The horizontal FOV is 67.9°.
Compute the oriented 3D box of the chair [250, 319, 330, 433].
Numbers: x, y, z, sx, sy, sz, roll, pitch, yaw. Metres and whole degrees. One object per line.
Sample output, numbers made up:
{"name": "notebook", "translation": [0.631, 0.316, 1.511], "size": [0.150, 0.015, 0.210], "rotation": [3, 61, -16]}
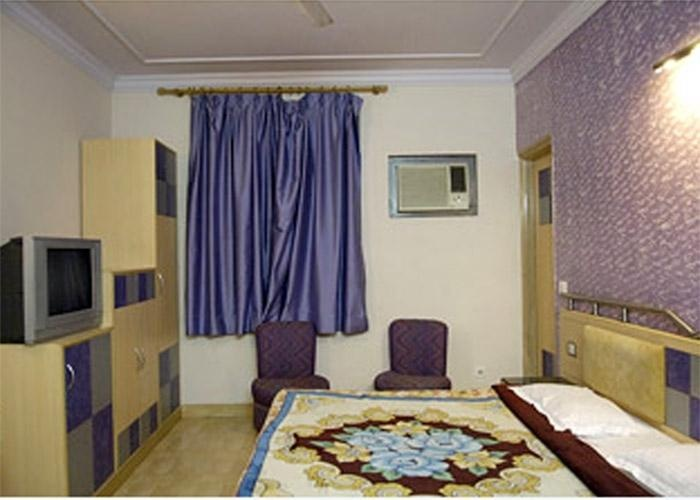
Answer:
{"name": "chair", "translation": [-0.549, 1.182, 4.707], "size": [0.664, 0.925, 0.555], "rotation": [-1, 6, 7]}

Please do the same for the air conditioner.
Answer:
{"name": "air conditioner", "translation": [0.801, -0.667, 5.118], "size": [0.768, 0.516, 0.485], "rotation": [-2, 9, -15]}

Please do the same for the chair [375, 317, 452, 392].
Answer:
{"name": "chair", "translation": [0.613, 0.943, 4.807], "size": [0.579, 0.809, 0.636], "rotation": [0, -6, 5]}
